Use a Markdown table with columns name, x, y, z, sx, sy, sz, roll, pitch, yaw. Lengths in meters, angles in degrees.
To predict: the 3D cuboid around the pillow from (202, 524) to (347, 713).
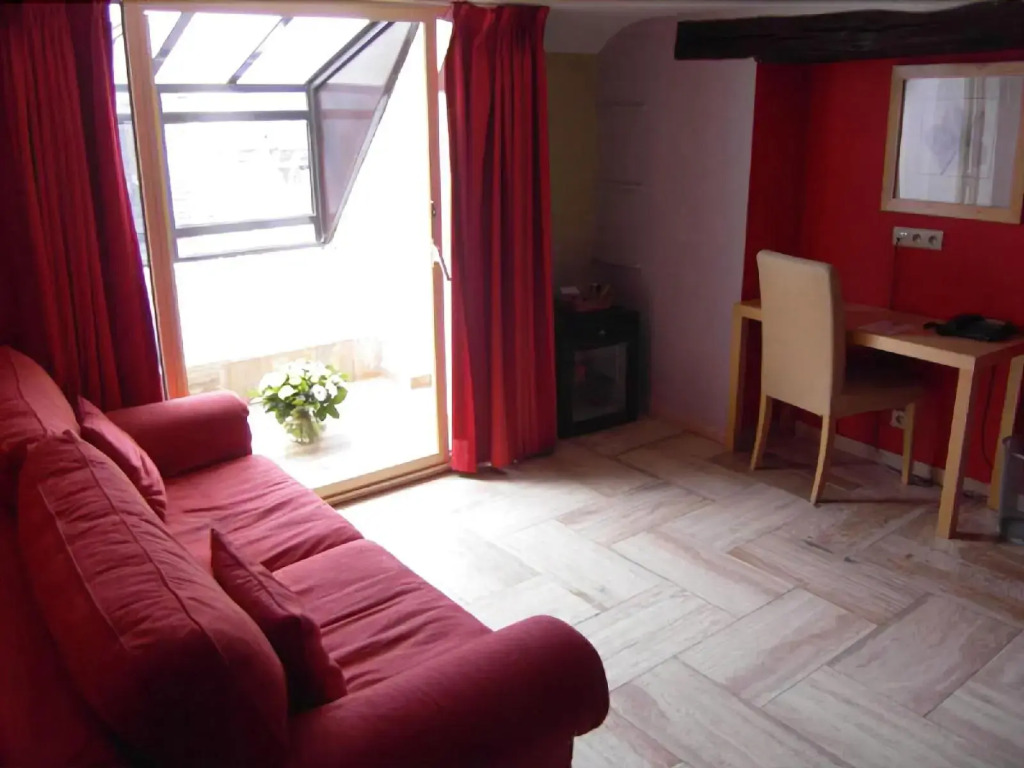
| name | x | y | z | sx | sy | sz | roll | pitch | yaw |
| --- | --- | --- | --- | --- | --- | --- | --- | --- | --- |
| pillow | -0.555 | 0.569 | 1.822 | 0.100 | 0.342 | 0.329 | -29 | 11 | -8 |

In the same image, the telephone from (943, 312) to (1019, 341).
| name | x | y | z | sx | sy | sz | roll | pitch | yaw |
| --- | --- | --- | --- | --- | --- | --- | --- | --- | --- |
| telephone | 2.179 | -0.263 | 3.562 | 0.278 | 0.085 | 0.211 | -10 | 21 | -15 |

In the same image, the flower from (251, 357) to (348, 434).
| name | x | y | z | sx | sy | sz | roll | pitch | yaw |
| --- | --- | --- | --- | --- | --- | --- | --- | --- | --- |
| flower | -1.240 | 0.021 | 4.441 | 0.421 | 0.314 | 0.430 | 14 | 25 | 27 |
